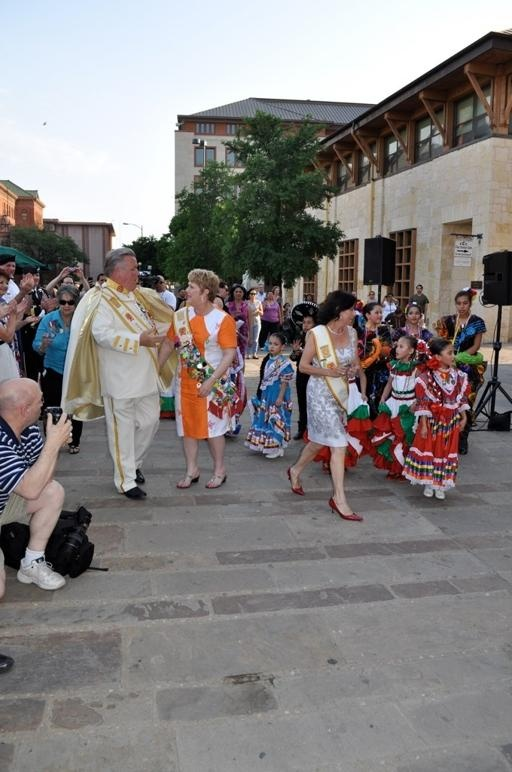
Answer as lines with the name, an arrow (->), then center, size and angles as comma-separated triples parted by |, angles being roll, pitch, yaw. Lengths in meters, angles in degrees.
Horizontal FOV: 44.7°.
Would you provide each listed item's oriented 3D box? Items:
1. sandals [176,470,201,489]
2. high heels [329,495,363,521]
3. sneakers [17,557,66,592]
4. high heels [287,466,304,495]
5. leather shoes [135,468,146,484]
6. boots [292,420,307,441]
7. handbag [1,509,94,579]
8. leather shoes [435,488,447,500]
sandals -> -0.553, 0.796, 5.167 | 0.079, 0.079, 0.211 | -11, -11, 23
high heels -> 0.634, 0.891, 4.488 | 0.276, 0.110, 0.092 | 6, -1, 40
sneakers -> -1.113, 0.963, 3.272 | 0.267, 0.124, 0.117 | 13, 13, 10
high heels -> 0.306, 0.764, 5.065 | 0.069, 0.082, 0.247 | -24, 38, -4
leather shoes -> -0.969, 0.768, 5.274 | 0.057, 0.112, 0.167 | -6, 7, -29
boots -> 0.516, 0.527, 7.144 | 0.103, 0.169, 0.256 | -3, -6, 23
handbag -> -1.048, 0.853, 3.347 | 0.343, 0.367, 0.176 | 10, -4, 16
leather shoes -> 1.472, 0.852, 4.964 | 0.082, 0.051, 0.139 | -2, -1, 8
